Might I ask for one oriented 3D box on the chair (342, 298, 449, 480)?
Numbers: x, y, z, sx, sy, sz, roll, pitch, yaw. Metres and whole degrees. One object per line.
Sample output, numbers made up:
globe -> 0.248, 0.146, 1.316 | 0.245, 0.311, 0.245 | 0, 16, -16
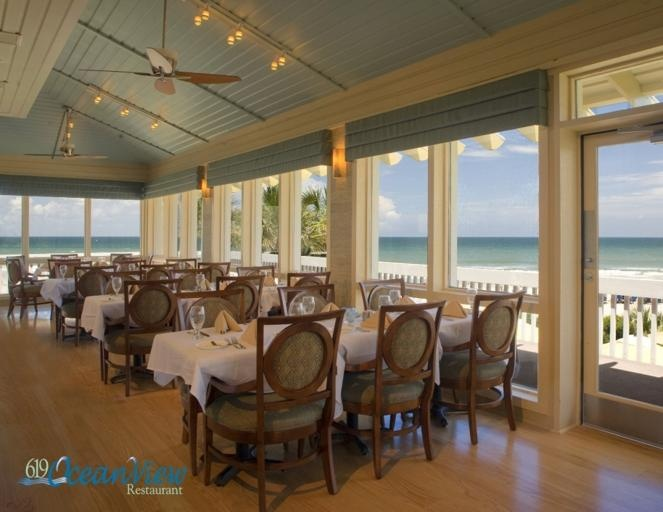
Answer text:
chair -> 0.420, 0.972, 3.668 | 0.835, 1.144, 0.836 | -2, -2, 35

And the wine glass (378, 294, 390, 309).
wine glass -> 0.433, 0.378, 3.788 | 0.111, 0.098, 0.107 | -1, 1, -27

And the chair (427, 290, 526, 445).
chair -> 1.221, 0.924, 4.127 | 0.876, 1.104, 0.817 | -3, -3, 44

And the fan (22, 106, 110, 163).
fan -> -5.968, -2.720, 10.453 | 2.142, 0.947, 2.085 | -15, 25, -41

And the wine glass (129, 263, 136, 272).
wine glass -> -3.315, 0.215, 7.724 | 0.118, 0.124, 0.126 | 0, 6, -18

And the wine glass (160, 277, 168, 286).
wine glass -> -1.892, 0.302, 5.243 | 0.119, 0.116, 0.106 | 3, -4, -19

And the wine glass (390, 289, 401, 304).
wine glass -> 0.590, 0.396, 4.365 | 0.116, 0.176, 0.118 | -2, -5, 7

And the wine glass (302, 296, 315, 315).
wine glass -> -0.183, 0.401, 3.757 | 0.134, 0.155, 0.125 | -1, -2, 8

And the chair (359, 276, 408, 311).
chair -> 0.518, 0.405, 4.907 | 0.386, 0.616, 0.387 | 2, -9, -11

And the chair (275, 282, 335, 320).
chair -> -0.234, 0.428, 4.548 | 0.354, 0.569, 0.363 | 0, 1, -34
